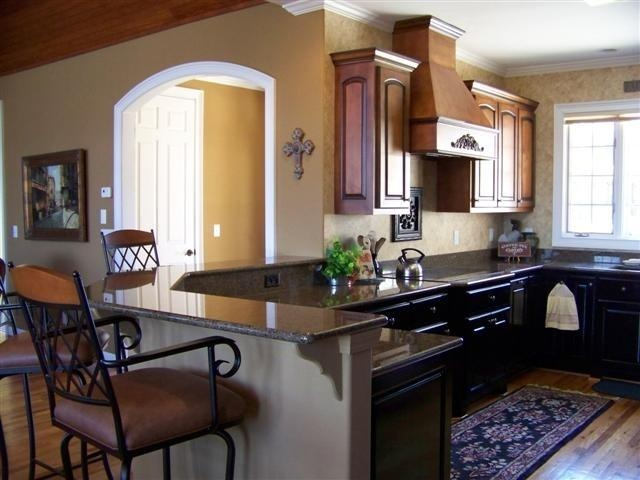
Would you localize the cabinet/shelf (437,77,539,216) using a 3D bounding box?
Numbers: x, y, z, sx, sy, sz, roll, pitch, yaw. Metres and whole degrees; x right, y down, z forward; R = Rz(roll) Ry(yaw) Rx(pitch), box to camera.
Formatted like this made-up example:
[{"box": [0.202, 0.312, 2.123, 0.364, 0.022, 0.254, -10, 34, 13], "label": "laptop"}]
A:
[{"box": [1.628, -0.889, 4.958, 0.401, 1.359, 1.554, -2, -3, 37], "label": "cabinet/shelf"}]

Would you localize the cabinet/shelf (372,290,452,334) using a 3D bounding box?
[{"box": [0.614, 0.486, 3.464, 0.133, 0.204, 0.420, -2, -2, 42], "label": "cabinet/shelf"}]

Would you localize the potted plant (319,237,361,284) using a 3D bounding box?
[{"box": [0.202, 0.164, 3.951, 0.324, 0.341, 0.336, -3, -4, 42], "label": "potted plant"}]

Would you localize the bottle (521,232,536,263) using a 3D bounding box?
[{"box": [2.392, 0.062, 5.760, 0.175, 0.288, 0.247, 4, 6, 29], "label": "bottle"}]

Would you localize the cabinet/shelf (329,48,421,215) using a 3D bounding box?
[{"box": [0.419, -0.836, 3.994, 0.697, 1.258, 0.387, 1, 5, -4], "label": "cabinet/shelf"}]

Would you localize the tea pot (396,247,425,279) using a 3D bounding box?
[{"box": [0.796, 0.220, 4.392, 0.315, 0.278, 0.224, 2, -5, -28], "label": "tea pot"}]
